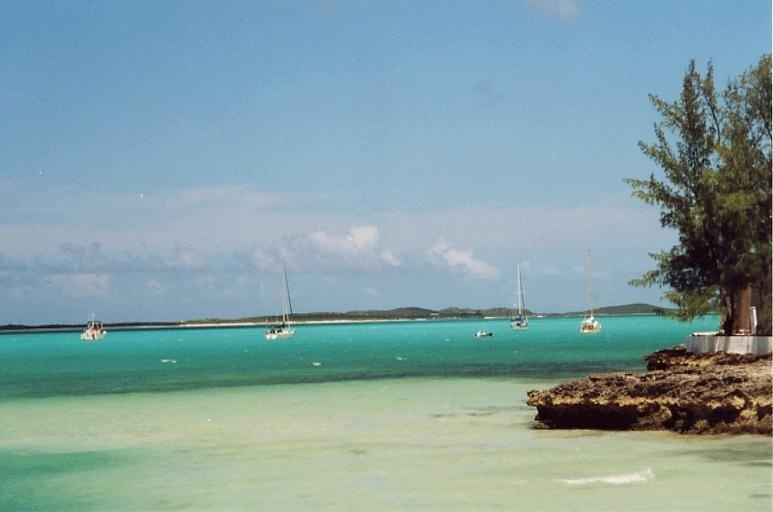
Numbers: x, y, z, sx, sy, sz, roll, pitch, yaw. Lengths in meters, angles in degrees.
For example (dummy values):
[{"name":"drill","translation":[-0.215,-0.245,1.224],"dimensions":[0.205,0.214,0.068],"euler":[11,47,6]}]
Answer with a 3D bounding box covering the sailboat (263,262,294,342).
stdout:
[{"name":"sailboat","translation":[-20.879,9.556,165.699],"dimensions":[3.338,13.157,9.298],"euler":[10,-21,-43]}]
